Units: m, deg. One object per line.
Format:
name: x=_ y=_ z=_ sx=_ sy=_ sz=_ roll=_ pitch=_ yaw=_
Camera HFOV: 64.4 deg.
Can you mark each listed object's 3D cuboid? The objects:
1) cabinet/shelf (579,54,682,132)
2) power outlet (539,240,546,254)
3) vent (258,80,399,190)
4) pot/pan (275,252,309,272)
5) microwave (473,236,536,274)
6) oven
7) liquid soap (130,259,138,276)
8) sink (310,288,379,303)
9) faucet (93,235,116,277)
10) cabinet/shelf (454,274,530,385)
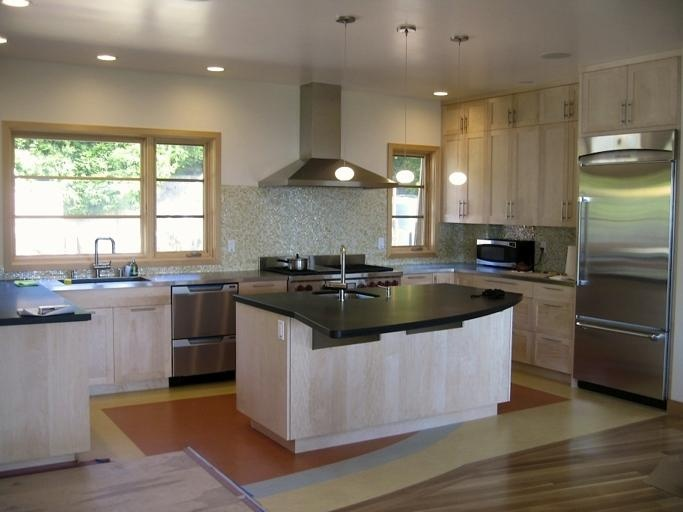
cabinet/shelf: x=2.826 y=-1.580 z=5.225 sx=0.311 sy=0.551 sz=0.795 roll=-1 pitch=4 yaw=-39
power outlet: x=2.547 y=-0.108 z=6.848 sx=0.017 sy=0.169 sz=0.081 roll=-2 pitch=7 yaw=-31
vent: x=-0.178 y=-1.367 z=6.535 sx=1.455 sy=1.161 sz=1.428 roll=-1 pitch=1 yaw=-19
pot/pan: x=-0.537 y=0.068 z=6.385 sx=0.189 sy=0.124 sz=0.282 roll=4 pitch=7 yaw=39
microwave: x=2.089 y=-0.031 z=6.968 sx=0.219 sy=0.364 sz=0.751 roll=-4 pitch=7 yaw=-40
oven: x=-1.385 y=0.817 z=5.905 sx=0.818 sy=0.985 sz=0.761 roll=-1 pitch=-10 yaw=-8
liquid soap: x=-2.215 y=0.118 z=5.760 sx=0.076 sy=0.175 sz=0.148 roll=-1 pitch=6 yaw=-22
sink: x=0.054 y=0.312 z=4.704 sx=0.555 sy=0.116 sz=0.398 roll=-2 pitch=6 yaw=-29
faucet: x=-2.522 y=0.002 z=5.754 sx=0.221 sy=0.397 sz=0.364 roll=-1 pitch=6 yaw=-23
cabinet/shelf: x=2.013 y=0.864 z=6.814 sx=0.815 sy=1.215 sz=1.332 roll=-5 pitch=8 yaw=-35
